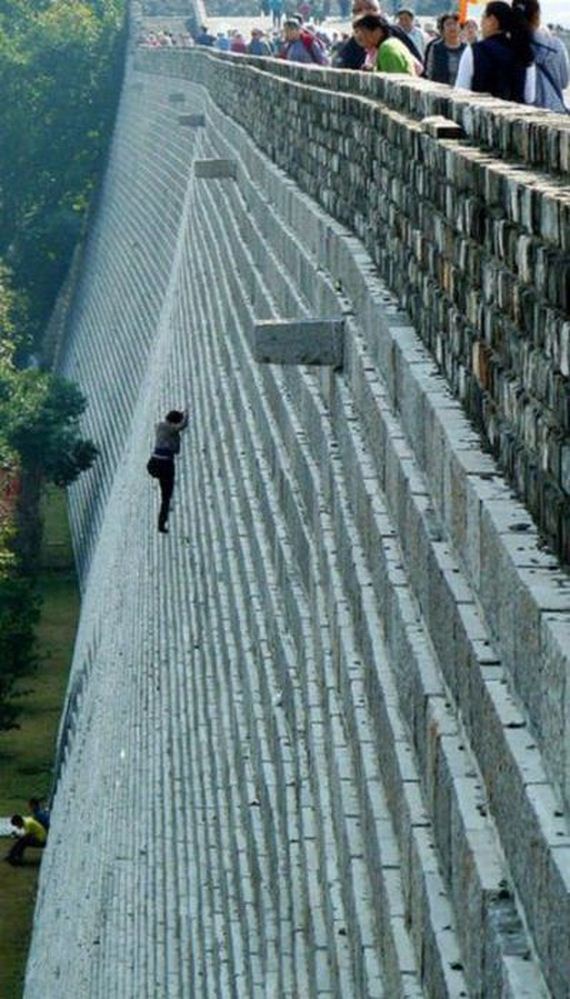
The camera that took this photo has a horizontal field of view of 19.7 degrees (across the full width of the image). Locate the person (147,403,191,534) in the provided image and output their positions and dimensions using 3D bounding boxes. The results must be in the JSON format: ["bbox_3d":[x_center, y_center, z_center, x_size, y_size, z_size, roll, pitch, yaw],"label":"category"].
[{"bbox_3d":[-1.166,-0.245,16.805,0.293,1.178,0.513,-19,52,-21],"label":"person"}]
